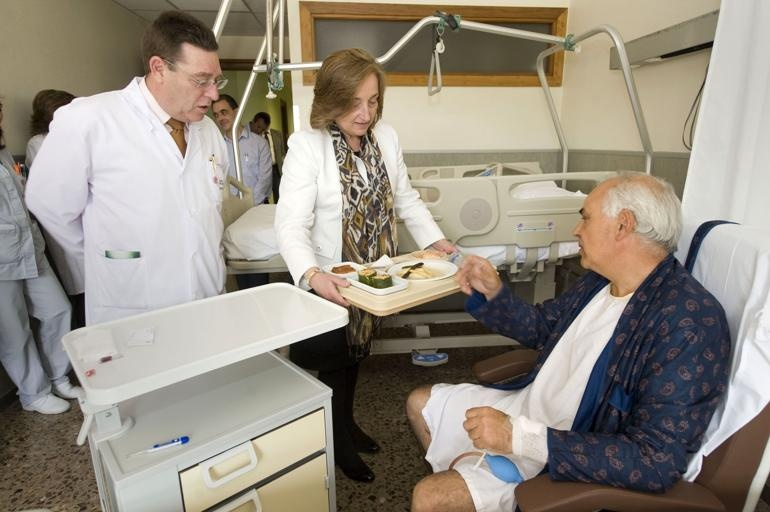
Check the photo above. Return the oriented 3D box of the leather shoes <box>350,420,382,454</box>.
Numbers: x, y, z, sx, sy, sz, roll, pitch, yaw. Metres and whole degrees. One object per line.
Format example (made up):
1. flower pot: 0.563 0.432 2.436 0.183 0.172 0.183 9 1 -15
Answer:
1. leather shoes: -0.154 0.956 2.653 0.251 0.104 0.083 3 7 30

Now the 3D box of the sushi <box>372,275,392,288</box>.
1. sushi: -0.020 0.099 1.991 0.057 0.039 0.057 9 19 40

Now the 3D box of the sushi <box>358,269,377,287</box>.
1. sushi: -0.077 0.091 2.069 0.065 0.053 0.065 0 10 4

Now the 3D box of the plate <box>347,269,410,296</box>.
1. plate: -0.037 0.114 2.031 0.124 0.039 0.165 -9 19 -35

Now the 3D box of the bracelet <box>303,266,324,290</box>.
1. bracelet: -0.306 0.097 2.139 0.032 0.091 0.078 29 16 36

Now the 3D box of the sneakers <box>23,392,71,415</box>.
1. sneakers: -1.992 0.880 2.950 0.245 0.105 0.121 0 15 -12

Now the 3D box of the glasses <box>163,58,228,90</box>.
1. glasses: -0.811 -0.765 2.134 0.153 0.045 0.148 33 12 7

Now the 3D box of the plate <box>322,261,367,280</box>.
1. plate: -0.168 0.060 2.169 0.102 0.031 0.100 -9 15 -42

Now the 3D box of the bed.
1. bed: 0.234 0.060 3.294 2.384 1.148 1.154 -3 22 -5

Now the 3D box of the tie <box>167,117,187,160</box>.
1. tie: -0.941 -0.535 2.274 0.034 0.150 0.084 -7 17 20
